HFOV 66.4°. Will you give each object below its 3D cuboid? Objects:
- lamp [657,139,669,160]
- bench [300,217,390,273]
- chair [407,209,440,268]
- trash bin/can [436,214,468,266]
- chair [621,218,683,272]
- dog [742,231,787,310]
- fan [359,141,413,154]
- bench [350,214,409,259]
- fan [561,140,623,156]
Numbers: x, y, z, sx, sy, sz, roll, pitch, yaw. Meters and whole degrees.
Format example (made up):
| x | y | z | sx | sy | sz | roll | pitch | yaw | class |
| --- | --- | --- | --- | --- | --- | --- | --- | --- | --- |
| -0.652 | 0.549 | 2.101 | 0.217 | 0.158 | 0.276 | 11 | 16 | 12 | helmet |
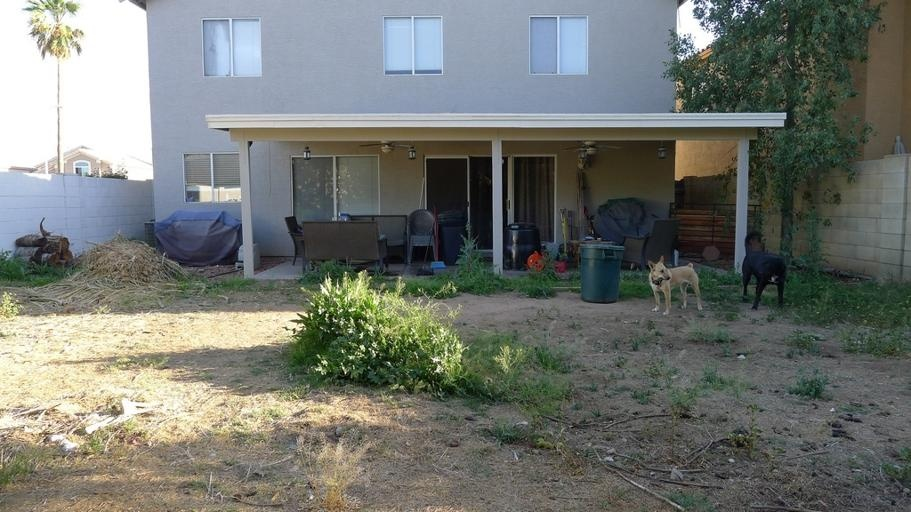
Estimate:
| x | y | z | sx | sy | sz | roll | pitch | yaw | class |
| --- | --- | --- | --- | --- | --- | --- | --- | --- | --- |
| 5.834 | -2.981 | 19.599 | 0.321 | 0.526 | 1.550 | 2 | 6 | 17 | lamp |
| -2.771 | -0.233 | 17.450 | 1.974 | 1.278 | 1.172 | 0 | 6 | 4 | bench |
| -0.940 | -0.516 | 19.254 | 0.747 | 1.497 | 1.051 | -2 | 7 | -16 | chair |
| -0.088 | -0.459 | 18.922 | 0.757 | 1.426 | 0.584 | 0 | 6 | 0 | trash bin/can |
| 4.941 | -0.276 | 17.986 | 1.389 | 1.734 | 1.452 | -8 | 11 | -39 | chair |
| 6.680 | 0.307 | 15.094 | 0.821 | 1.561 | 1.361 | 1 | 6 | 12 | dog |
| -1.907 | -2.975 | 19.347 | 1.566 | 0.374 | 0.884 | -1 | 6 | -3 | fan |
| -2.080 | -0.501 | 18.831 | 1.643 | 1.492 | 1.233 | -2 | -11 | -13 | bench |
| 3.809 | -2.961 | 19.212 | 1.552 | 0.389 | 1.618 | 1 | 6 | 12 | fan |
